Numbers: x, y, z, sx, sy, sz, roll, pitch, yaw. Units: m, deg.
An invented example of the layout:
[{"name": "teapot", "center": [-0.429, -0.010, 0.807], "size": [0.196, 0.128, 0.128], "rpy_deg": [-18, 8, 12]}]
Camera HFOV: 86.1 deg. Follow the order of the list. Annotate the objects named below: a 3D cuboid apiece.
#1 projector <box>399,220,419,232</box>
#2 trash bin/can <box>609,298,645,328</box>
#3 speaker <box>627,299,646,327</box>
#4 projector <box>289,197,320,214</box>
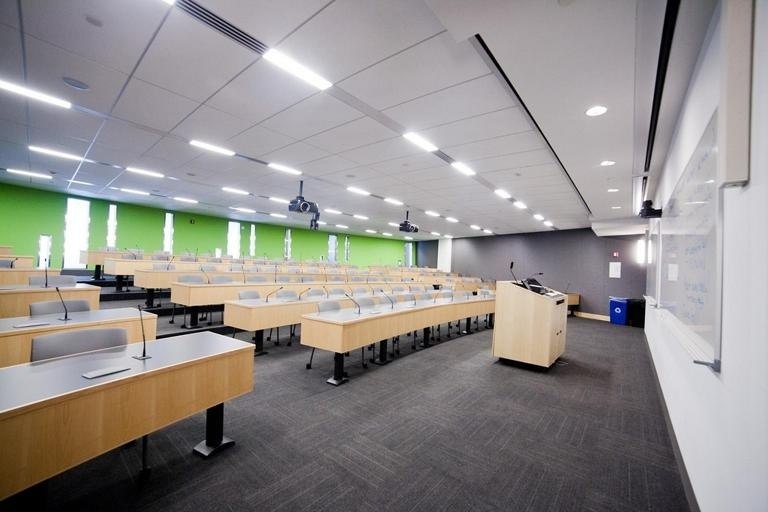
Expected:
[{"name": "projector", "center": [0.659, -0.870, 11.119], "size": [0.336, 0.203, 0.490], "rpy_deg": [-2, -7, 36]}, {"name": "trash bin/can", "center": [6.219, 1.445, 10.583], "size": [0.576, 0.774, 1.074], "rpy_deg": [3, 2, 34]}, {"name": "speaker", "center": [6.352, 1.448, 10.374], "size": [0.296, 0.651, 0.573], "rpy_deg": [3, 9, 7]}, {"name": "projector", "center": [-1.659, -1.022, 8.348], "size": [0.402, 0.319, 0.555], "rpy_deg": [1, -1, 21]}]
